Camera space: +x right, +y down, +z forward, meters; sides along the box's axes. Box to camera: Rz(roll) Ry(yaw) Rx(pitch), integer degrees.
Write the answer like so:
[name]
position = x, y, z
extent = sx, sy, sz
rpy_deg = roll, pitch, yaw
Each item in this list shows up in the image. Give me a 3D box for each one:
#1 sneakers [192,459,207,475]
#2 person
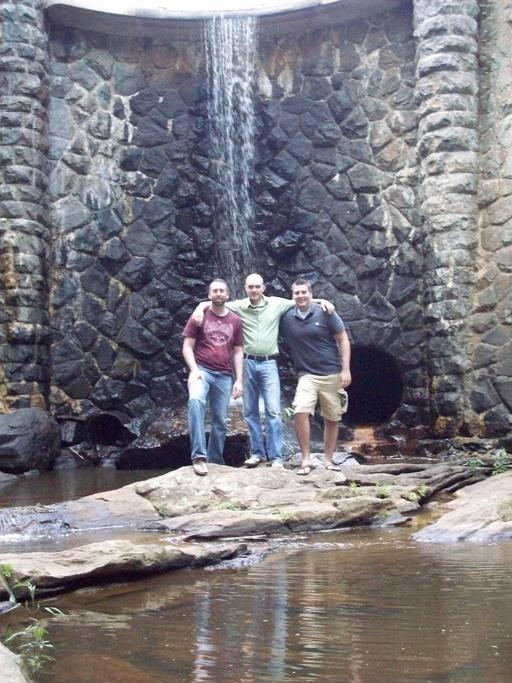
[sneakers]
position = -0.400, 0.894, 5.149
extent = 0.105, 0.107, 0.195
rpy_deg = -2, -5, -5
[person]
position = -0.042, 0.232, 5.760
extent = 0.519, 1.549, 0.928
rpy_deg = -5, -5, 27
